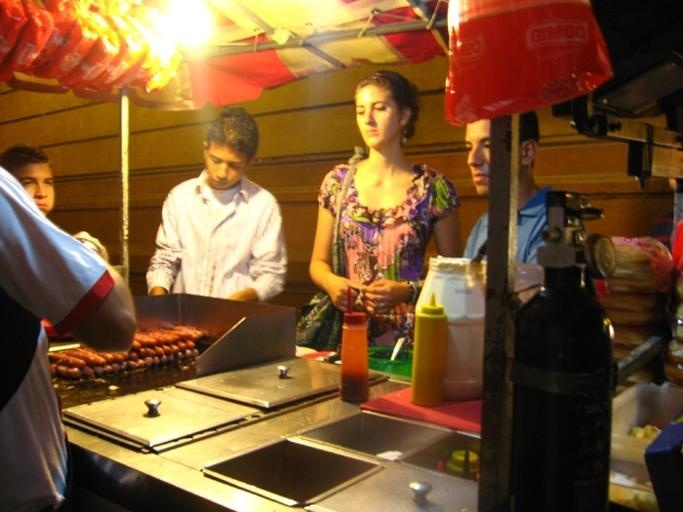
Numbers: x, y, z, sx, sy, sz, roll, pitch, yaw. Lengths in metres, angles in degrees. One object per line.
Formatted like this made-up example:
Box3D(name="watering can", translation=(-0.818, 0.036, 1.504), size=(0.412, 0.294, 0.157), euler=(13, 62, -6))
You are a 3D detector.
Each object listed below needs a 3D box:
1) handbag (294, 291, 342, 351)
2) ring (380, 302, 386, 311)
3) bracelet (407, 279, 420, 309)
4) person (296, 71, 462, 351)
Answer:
Box3D(name="handbag", translation=(-0.120, 0.372, 3.218), size=(0.269, 0.301, 0.274), euler=(-3, 8, 4))
Box3D(name="ring", translation=(0.218, 0.264, 2.882), size=(0.025, 0.025, 0.006), euler=(-27, -11, 14))
Box3D(name="bracelet", translation=(0.368, 0.192, 2.793), size=(0.049, 0.130, 0.090), euler=(5, -11, -4))
Box3D(name="person", translation=(0.206, -0.192, 3.264), size=(0.652, 2.200, 0.615), euler=(1, 1, 24))
